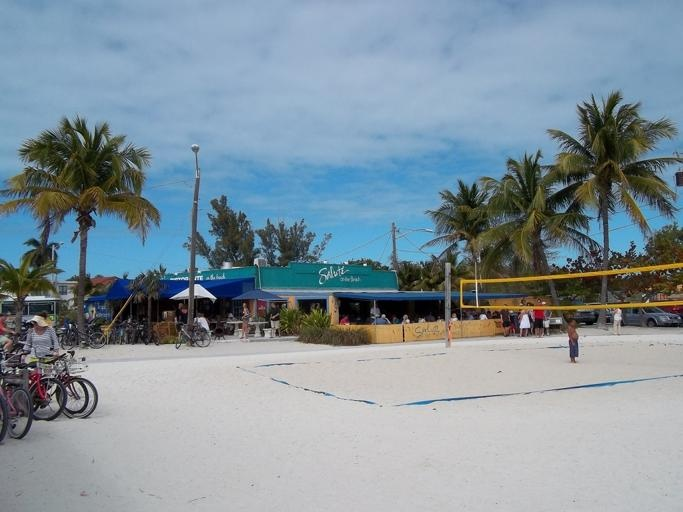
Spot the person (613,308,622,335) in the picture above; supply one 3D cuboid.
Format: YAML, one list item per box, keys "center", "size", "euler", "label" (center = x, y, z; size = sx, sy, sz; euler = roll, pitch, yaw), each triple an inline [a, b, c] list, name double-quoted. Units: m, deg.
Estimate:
- center: [13.825, 3.229, 28.685]
  size: [0.260, 1.266, 1.255]
  euler: [-2, -6, 21]
  label: "person"

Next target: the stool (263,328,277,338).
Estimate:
- center: [-3.709, 3.968, 29.640]
  size: [0.628, 0.512, 1.195]
  euler: [0, -7, -8]
  label: "stool"

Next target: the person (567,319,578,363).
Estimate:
- center: [7.174, 2.621, 17.719]
  size: [0.257, 1.245, 2.551]
  euler: [-2, -7, 21]
  label: "person"

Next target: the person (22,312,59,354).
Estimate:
- center: [-5.549, 1.496, 10.546]
  size: [0.588, 0.826, 0.443]
  euler: [-1, 17, -28]
  label: "person"
